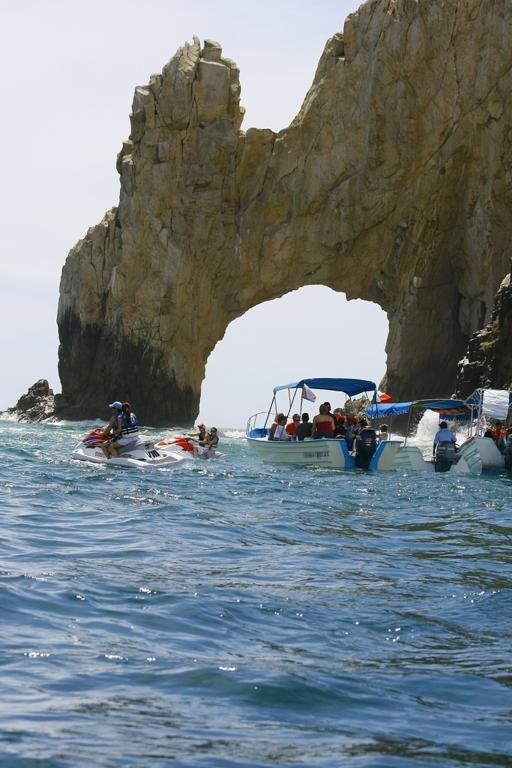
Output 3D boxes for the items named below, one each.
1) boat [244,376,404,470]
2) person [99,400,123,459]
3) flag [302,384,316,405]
[{"bbox_3d":[0.906,0.628,22.153,1.109,1.286,2.618,2,6,-17],"label":"boat"},{"bbox_3d":[-1.922,0.538,18.536,0.283,0.748,0.966,1,5,-5],"label":"person"},{"bbox_3d":[0.757,0.098,20.089,0.027,0.260,0.232,-36,-56,22],"label":"flag"}]
